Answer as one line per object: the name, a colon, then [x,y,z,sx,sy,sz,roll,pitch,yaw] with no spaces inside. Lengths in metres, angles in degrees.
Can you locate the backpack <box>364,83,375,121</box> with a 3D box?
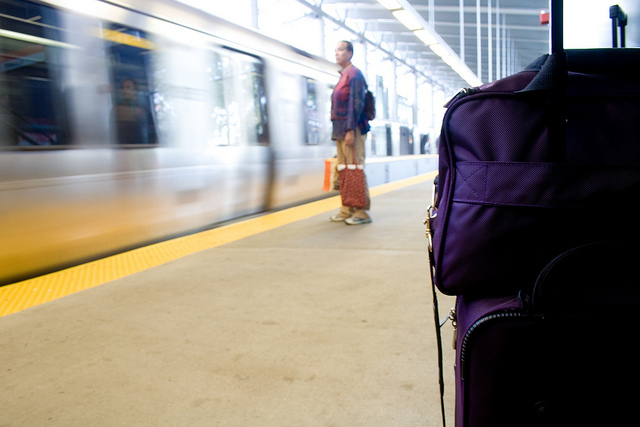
backpack: [0.564,-1.219,5.028,0.111,0.291,0.213,-1,9,19]
